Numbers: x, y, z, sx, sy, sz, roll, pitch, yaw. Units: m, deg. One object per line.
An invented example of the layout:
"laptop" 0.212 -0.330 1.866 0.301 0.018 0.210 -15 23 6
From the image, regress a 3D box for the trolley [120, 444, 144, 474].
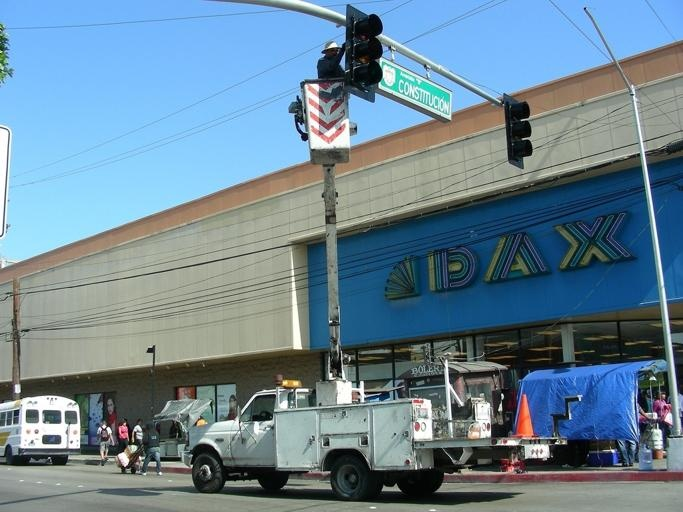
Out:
"trolley" -8.425 8.085 35.996 0.903 1.314 2.632 2 -18 -12

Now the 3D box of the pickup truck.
"pickup truck" 0.299 5.315 26.053 9.879 3.486 2.337 -12 -20 28

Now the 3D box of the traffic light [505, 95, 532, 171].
"traffic light" 4.838 -3.448 24.605 0.689 2.125 1.244 -5 -18 11

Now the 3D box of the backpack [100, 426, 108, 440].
"backpack" -11.175 8.276 42.175 0.348 0.718 0.893 3 -18 -16

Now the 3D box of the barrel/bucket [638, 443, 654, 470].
"barrel/bucket" 9.248 6.188 27.383 0.370 0.637 0.478 -9 -19 22
